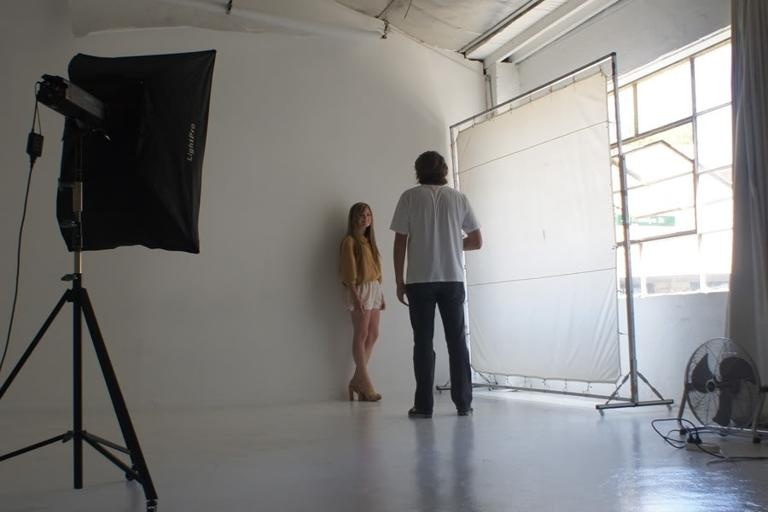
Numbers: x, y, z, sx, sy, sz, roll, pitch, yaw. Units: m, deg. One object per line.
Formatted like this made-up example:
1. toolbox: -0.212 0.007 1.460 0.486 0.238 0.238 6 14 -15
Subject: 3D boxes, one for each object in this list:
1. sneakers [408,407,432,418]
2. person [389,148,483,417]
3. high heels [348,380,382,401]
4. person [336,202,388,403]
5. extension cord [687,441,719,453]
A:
1. sneakers: 0.248 1.108 4.564 0.066 0.084 0.182 -1 4 -43
2. person: 0.369 0.168 4.679 0.643 1.695 0.371 1 0 7
3. high heels: -0.213 1.121 5.399 0.344 0.204 0.117 -4 -7 13
4. person: -0.173 0.360 5.431 0.412 1.388 0.410 1 0 -18
5. extension cord: 1.815 1.076 3.642 0.184 0.030 0.132 1 1 8
